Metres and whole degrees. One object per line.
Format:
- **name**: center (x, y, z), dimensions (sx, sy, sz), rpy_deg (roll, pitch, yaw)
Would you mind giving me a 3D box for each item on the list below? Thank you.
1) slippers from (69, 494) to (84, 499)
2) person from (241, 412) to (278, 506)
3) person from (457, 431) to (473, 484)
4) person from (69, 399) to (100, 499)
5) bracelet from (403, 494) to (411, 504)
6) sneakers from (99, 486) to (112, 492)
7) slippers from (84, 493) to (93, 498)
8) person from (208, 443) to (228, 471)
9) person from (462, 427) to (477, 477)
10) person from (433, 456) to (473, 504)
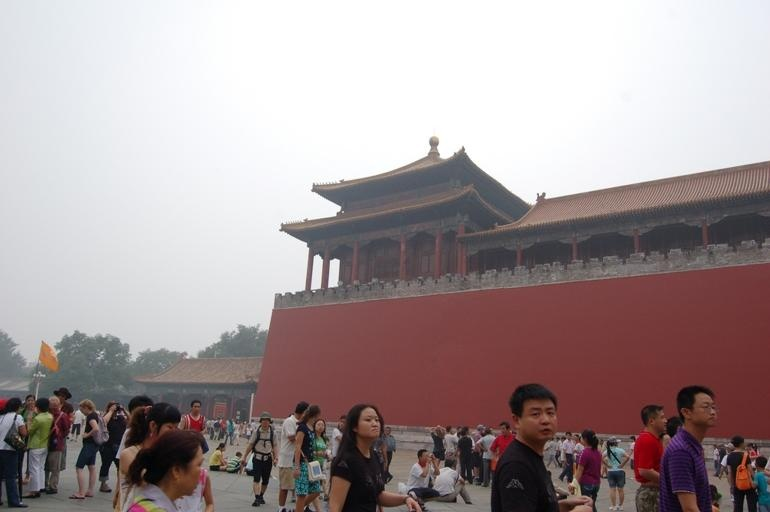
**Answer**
- **slippers**: center (-4.656, 3.643, 9.484), dimensions (0.229, 0.070, 0.136), rpy_deg (1, -19, 0)
- **person**: center (-2.015, 3.288, 10.134), dimensions (0.506, 1.401, 1.292), rpy_deg (5, -19, -11)
- **person**: center (1.688, 4.237, 13.346), dimensions (0.372, 1.172, 0.303), rpy_deg (-3, 12, -11)
- **person**: center (-4.849, 3.127, 10.241), dimensions (0.440, 1.540, 1.790), rpy_deg (10, -21, -23)
- **bracelet**: center (0.221, 2.483, 6.399), dimensions (0.037, 0.066, 0.127), rpy_deg (4, -19, -9)
- **sneakers**: center (-4.500, 3.757, 10.111), dimensions (0.212, 0.086, 0.080), rpy_deg (-6, -20, 31)
- **slippers**: center (-4.521, 3.662, 9.606), dimensions (0.101, 0.063, 0.086), rpy_deg (8, -20, -21)
- **person**: center (-3.516, 4.244, 13.263), dimensions (0.350, 0.545, 0.783), rpy_deg (6, -20, -14)
- **person**: center (1.705, 4.228, 13.364), dimensions (0.383, 1.177, 0.326), rpy_deg (-3, 17, -5)
- **person**: center (1.121, 4.072, 11.281), dimensions (0.613, 0.701, 0.811), rpy_deg (-5, -8, 42)
